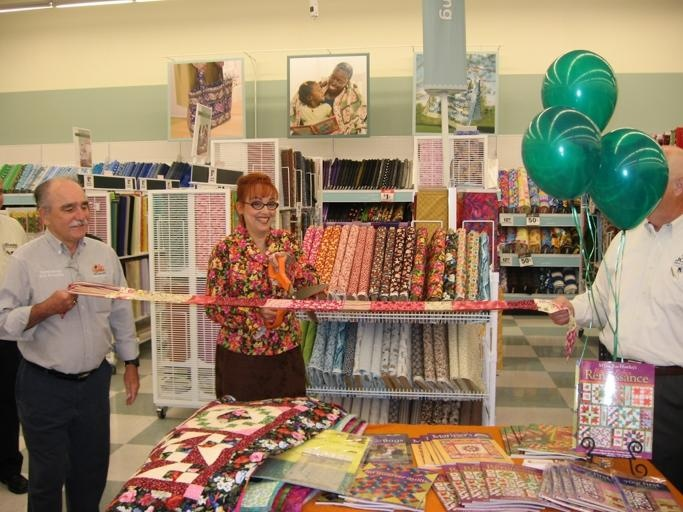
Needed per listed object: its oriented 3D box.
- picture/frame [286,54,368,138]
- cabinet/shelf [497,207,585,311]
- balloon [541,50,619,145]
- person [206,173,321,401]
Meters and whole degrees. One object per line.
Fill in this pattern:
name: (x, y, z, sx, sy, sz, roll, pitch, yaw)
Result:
picture/frame: (-0.154, -2.391, 8.547, 1.158, 1.128, 0.051, 1, 9, 9)
cabinet/shelf: (2.311, -0.021, 6.652, 1.254, 1.288, 0.707, 0, 3, -1)
balloon: (1.193, -0.774, 2.796, 0.303, 0.408, 0.315, -8, 11, 22)
person: (-0.412, 0.189, 3.124, 0.616, 1.255, 0.503, -1, 7, -5)
